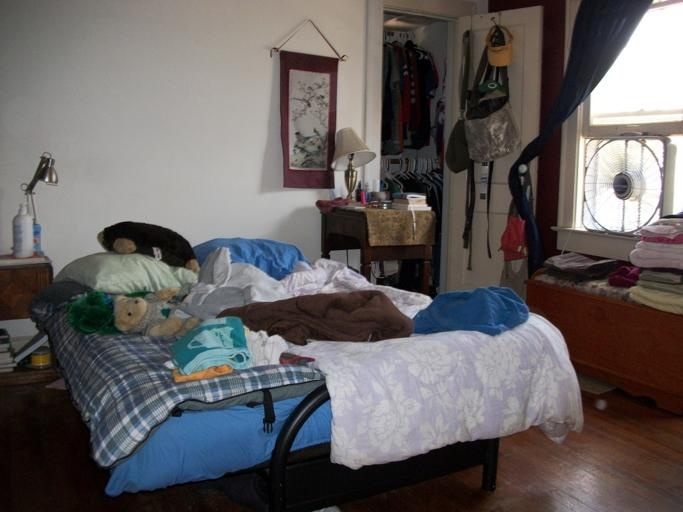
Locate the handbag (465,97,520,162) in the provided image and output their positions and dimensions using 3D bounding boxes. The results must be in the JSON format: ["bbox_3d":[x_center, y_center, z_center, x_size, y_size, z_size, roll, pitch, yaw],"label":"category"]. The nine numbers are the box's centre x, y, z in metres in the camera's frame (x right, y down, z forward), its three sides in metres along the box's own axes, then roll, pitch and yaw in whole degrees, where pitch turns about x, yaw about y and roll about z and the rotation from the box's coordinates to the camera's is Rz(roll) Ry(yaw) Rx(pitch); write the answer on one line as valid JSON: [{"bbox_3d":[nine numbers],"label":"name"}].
[{"bbox_3d":[1.256,-1.017,4.202,0.442,0.442,0.262,-19,28,3],"label":"handbag"}]

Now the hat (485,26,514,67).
[{"bbox_3d":[1.254,-1.672,4.065,0.213,0.337,0.318,2,8,21],"label":"hat"}]

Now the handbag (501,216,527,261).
[{"bbox_3d":[1.369,-0.132,4.061,0.091,0.323,0.242,5,-3,-45],"label":"handbag"}]

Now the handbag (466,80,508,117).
[{"bbox_3d":[1.151,-1.267,4.118,0.234,0.343,0.342,-4,16,-18],"label":"handbag"}]

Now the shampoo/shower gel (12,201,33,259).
[{"bbox_3d":[-1.942,-0.162,3.108,0.111,0.308,0.189,-3,14,-15],"label":"shampoo/shower gel"}]

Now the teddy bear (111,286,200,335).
[{"bbox_3d":[-0.885,0.284,2.367,0.303,0.130,0.233,-9,30,-20],"label":"teddy bear"}]

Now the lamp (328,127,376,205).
[{"bbox_3d":[0.086,-0.761,4.199,0.339,0.578,0.452,2,14,3],"label":"lamp"}]

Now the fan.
[{"bbox_3d":[1.908,-0.454,3.355,0.243,0.780,0.658,-5,9,-35],"label":"fan"}]

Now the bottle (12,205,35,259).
[{"bbox_3d":[-1.939,-0.156,3.097,0.119,0.320,0.123,3,7,0],"label":"bottle"}]

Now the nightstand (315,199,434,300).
[{"bbox_3d":[0.266,0.029,4.205,0.815,0.826,0.598,-1,8,-44],"label":"nightstand"}]

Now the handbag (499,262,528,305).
[{"bbox_3d":[1.425,0.181,4.189,0.227,0.570,0.060,0,47,23],"label":"handbag"}]

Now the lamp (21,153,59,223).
[{"bbox_3d":[-1.927,-0.434,3.263,0.222,0.461,0.392,-7,16,-30],"label":"lamp"}]
